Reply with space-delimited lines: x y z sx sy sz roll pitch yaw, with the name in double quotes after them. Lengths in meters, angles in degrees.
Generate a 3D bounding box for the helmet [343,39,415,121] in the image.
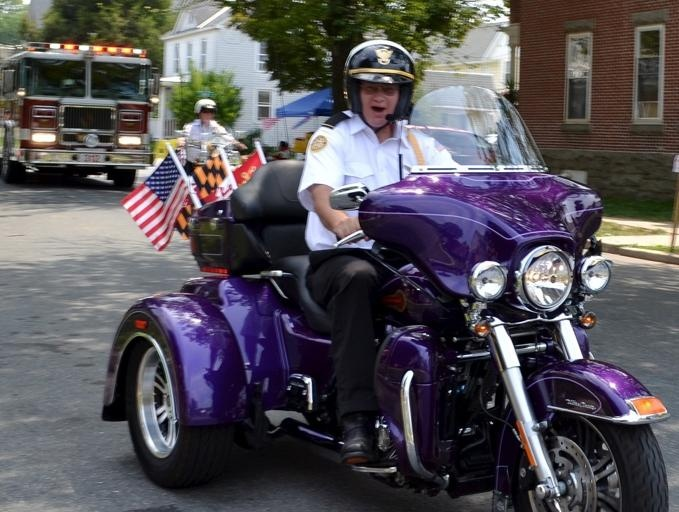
0.237 -0.925 3.501 0.495 0.397 0.495 2 9 -3 "helmet"
